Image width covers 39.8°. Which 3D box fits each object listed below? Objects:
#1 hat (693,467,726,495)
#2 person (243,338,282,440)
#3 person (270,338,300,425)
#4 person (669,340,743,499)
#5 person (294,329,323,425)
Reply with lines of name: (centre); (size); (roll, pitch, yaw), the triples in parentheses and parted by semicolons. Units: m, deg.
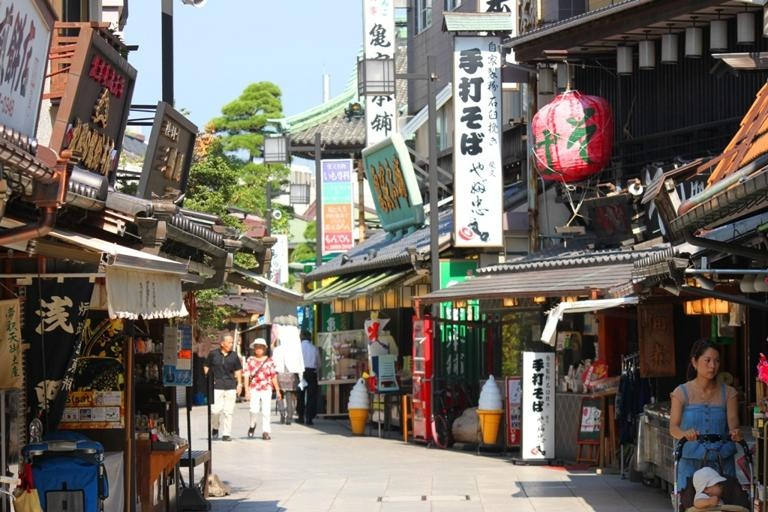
hat: (3.827, 2.647, 12.523); (0.330, 0.186, 0.277); (-25, -4, 24)
person: (-2.841, 2.994, 23.949); (0.797, 2.571, 1.007); (1, -8, -8)
person: (-2.620, 3.313, 27.675); (0.855, 2.585, 0.824); (-2, 3, -10)
person: (3.971, 2.007, 13.169); (0.751, 2.015, 1.497); (0, -3, -2)
person: (-2.111, 3.198, 28.152); (0.692, 2.409, 0.719); (3, -4, -2)
